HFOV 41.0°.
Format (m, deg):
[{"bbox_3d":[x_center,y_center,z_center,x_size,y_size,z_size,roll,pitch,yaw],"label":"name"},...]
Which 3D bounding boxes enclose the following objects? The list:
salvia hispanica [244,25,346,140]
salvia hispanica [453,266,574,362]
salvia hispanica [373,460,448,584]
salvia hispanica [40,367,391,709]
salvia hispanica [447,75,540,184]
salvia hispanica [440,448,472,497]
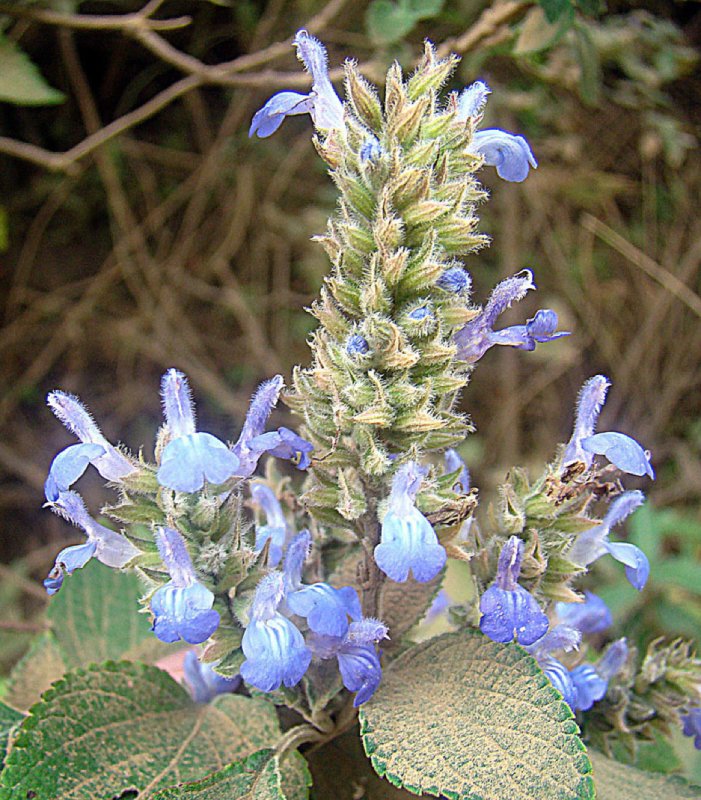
[{"bbox_3d":[-0.082,-0.591,1.797,0.222,0.253,0.240,1,26,4],"label":"salvia hispanica"},{"bbox_3d":[0.293,-0.172,1.843,0.151,0.220,0.164,-4,24,-24],"label":"salvia hispanica"},{"bbox_3d":[0.101,0.213,1.599,0.113,0.081,0.252,3,49,2],"label":"salvia hispanica"},{"bbox_3d":[-0.285,0.330,1.808,0.527,0.765,0.683,-17,54,-13],"label":"salvia hispanica"},{"bbox_3d":[0.283,-0.510,1.836,0.163,0.263,0.317,6,51,4],"label":"salvia hispanica"},{"bbox_3d":[0.215,0.148,1.914,0.044,0.037,0.113,-12,36,3],"label":"salvia hispanica"}]
